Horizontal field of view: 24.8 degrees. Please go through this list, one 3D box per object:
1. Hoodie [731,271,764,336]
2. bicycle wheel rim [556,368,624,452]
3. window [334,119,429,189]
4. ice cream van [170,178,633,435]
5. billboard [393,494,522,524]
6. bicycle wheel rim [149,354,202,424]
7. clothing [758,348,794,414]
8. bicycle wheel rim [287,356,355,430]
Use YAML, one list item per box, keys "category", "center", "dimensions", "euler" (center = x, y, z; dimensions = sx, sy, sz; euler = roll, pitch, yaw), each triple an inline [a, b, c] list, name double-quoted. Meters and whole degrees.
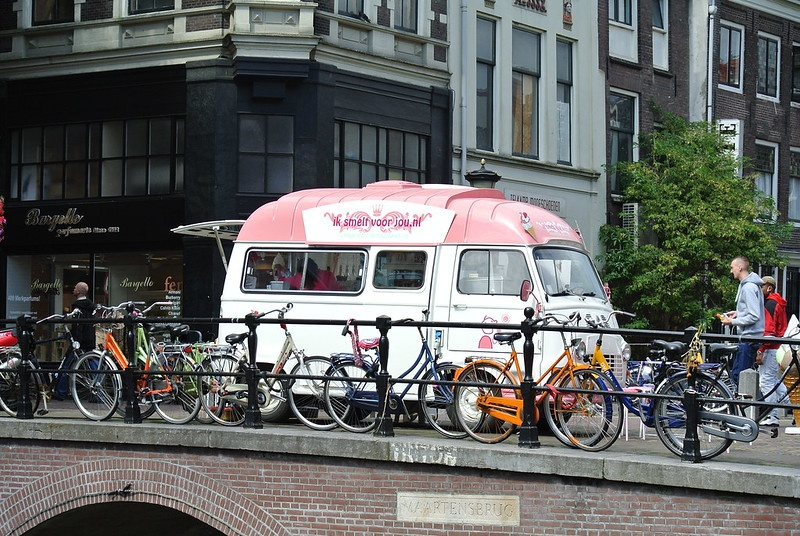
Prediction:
- category: "Hoodie"
  center: [6.215, 0.690, 32.827]
  dimensions: [0.669, 1.138, 0.844]
  euler: [-1, 4, 3]
- category: "bicycle wheel rim"
  center: [3.227, 2.308, 30.520]
  dimensions: [0.483, 1.397, 1.477]
  euler: [-22, 37, -39]
- category: "window"
  center: [-0.569, -2.523, 40.879]
  dimensions: [2.057, 1.105, 0.074]
  euler: [4, -3, -39]
- category: "ice cream van"
  center: [0.013, 0.590, 35.103]
  dimensions: [8.786, 4.222, 3.457]
  euler: [1, 1, 34]
- category: "billboard"
  center: [0.911, 4.014, 30.556]
  dimensions: [2.295, 0.541, 0.109]
  euler: [4, -11, -19]
- category: "bicycle wheel rim"
  center: [-4.028, 2.215, 32.490]
  dimensions: [0.864, 1.240, 0.279]
  euler: [1, 4, 12]
- category: "clothing"
  center: [6.601, 1.996, 32.606]
  dimensions: [0.463, 1.301, 0.659]
  euler: [7, 15, 42]
- category: "bicycle wheel rim"
  center: [-1.447, 2.374, 32.301]
  dimensions: [1.300, 0.243, 1.240]
  euler: [-12, -46, 3]
